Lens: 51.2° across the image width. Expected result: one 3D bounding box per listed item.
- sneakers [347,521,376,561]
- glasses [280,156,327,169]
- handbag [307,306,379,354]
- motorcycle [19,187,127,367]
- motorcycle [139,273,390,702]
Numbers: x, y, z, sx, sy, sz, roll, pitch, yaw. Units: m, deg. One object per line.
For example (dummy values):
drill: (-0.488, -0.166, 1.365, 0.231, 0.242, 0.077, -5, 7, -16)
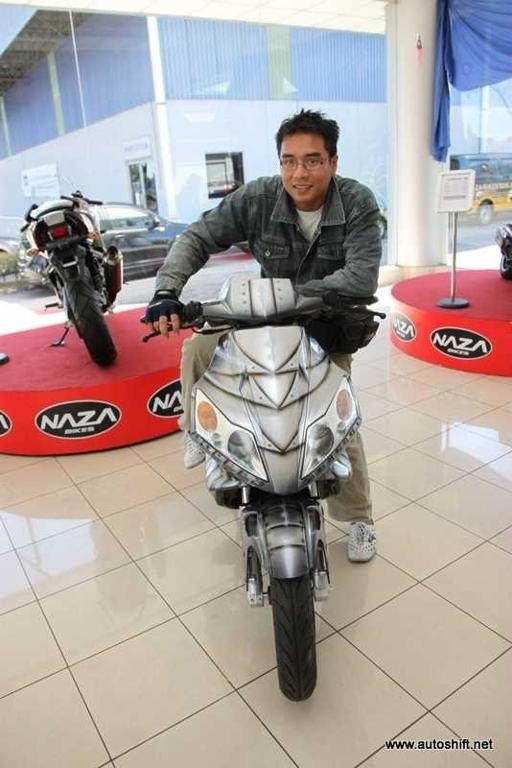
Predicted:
sneakers: (0.352, 0.528, 1.778, 0.072, 0.052, 0.134, -3, 30, 6)
glasses: (0.121, -0.599, 1.452, 0.131, 0.041, 0.070, 1, 21, 17)
handbag: (0.243, -0.148, 1.477, 0.152, 0.075, 0.120, -7, 22, -6)
motorcycle: (-0.993, -0.591, 2.957, 0.481, 0.881, 0.678, -9, 20, -11)
motorcycle: (0.029, 0.244, 1.358, 0.465, 1.006, 0.602, 5, 22, 25)
